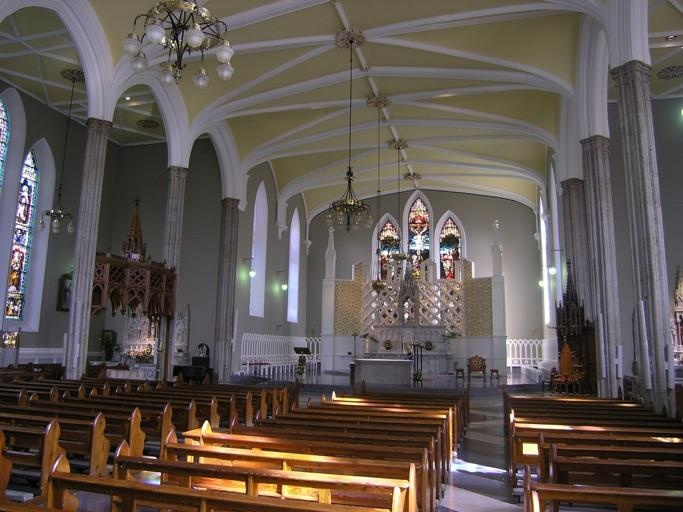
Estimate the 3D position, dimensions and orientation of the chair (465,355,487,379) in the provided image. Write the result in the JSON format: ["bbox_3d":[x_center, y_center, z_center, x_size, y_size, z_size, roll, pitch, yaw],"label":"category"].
[{"bbox_3d":[4.300,3.509,18.397,0.689,0.955,0.617,-3,-17,16],"label":"chair"}]
